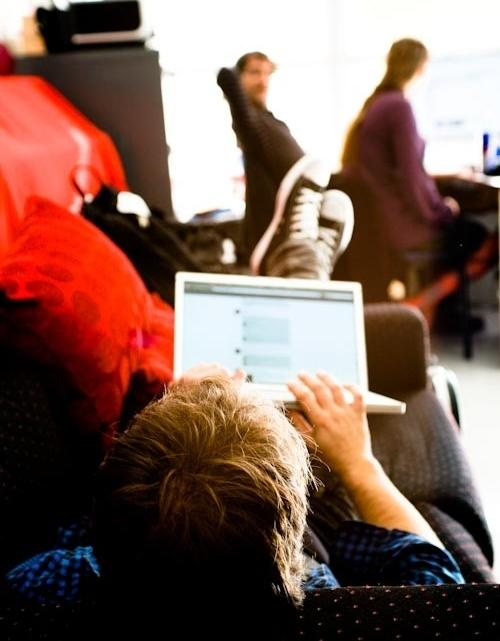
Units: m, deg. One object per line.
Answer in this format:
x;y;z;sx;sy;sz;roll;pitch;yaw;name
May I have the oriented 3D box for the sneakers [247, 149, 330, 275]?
0.037;-0.131;0.866;0.069;0.208;0.074;22;24;0;sneakers
